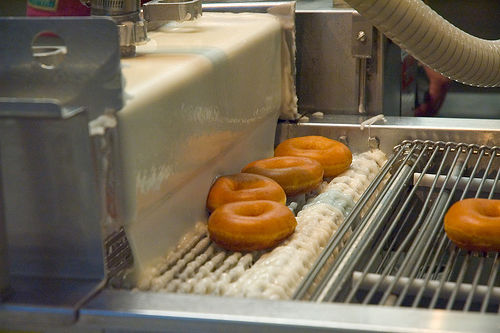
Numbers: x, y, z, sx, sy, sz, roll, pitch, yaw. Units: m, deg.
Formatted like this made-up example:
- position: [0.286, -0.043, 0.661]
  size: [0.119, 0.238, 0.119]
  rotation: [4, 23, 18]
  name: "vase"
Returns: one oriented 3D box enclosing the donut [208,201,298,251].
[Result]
- position: [0.004, 0.113, 0.749]
  size: [0.167, 0.064, 0.090]
  rotation: [-5, 22, -8]
  name: "donut"
